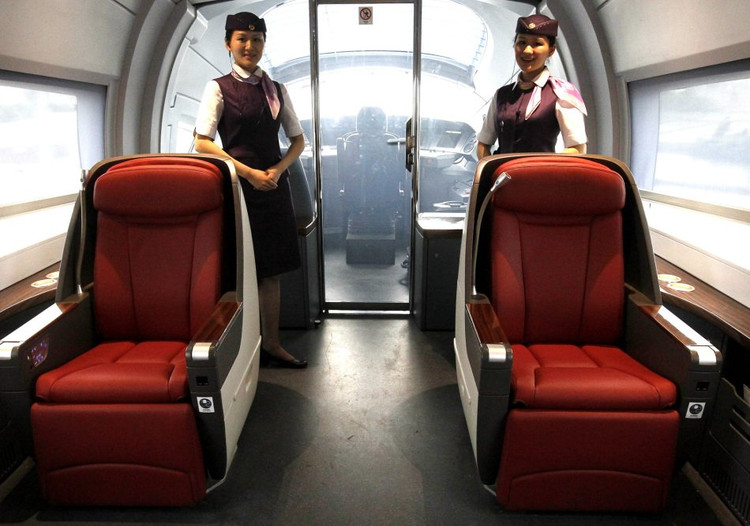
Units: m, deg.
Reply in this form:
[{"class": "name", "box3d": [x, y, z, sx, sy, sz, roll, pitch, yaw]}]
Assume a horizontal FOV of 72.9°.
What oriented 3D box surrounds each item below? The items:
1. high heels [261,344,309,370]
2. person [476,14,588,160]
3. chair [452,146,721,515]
[{"class": "high heels", "box3d": [-0.608, 0.678, 3.676, 0.388, 0.163, 0.135, -2, 7, -3]}, {"class": "person", "box3d": [0.986, -1.087, 3.210, 0.682, 0.855, 0.274, 13, 18, 40]}, {"class": "chair", "box3d": [1.010, 0.307, 2.646, 1.281, 1.458, 1.315, -10, 19, -31]}]
